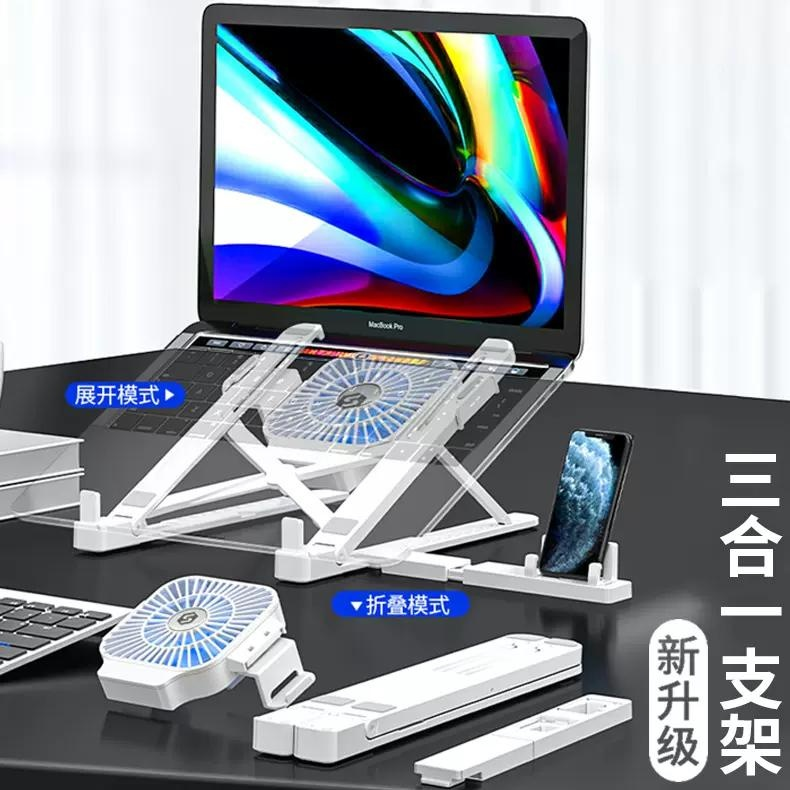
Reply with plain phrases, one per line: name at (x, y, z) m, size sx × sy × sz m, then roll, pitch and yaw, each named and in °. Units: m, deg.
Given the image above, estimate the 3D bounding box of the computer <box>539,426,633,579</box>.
computer at (0.206, 0.118, 0.948) m, size 0.015 × 0.163 × 0.084 m, roll 22°, pitch -12°, yaw -33°

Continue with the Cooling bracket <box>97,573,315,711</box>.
Cooling bracket at (-0.138, 0.191, 0.679) m, size 0.166 × 0.041 × 0.110 m, roll 8°, pitch 26°, yaw 29°
